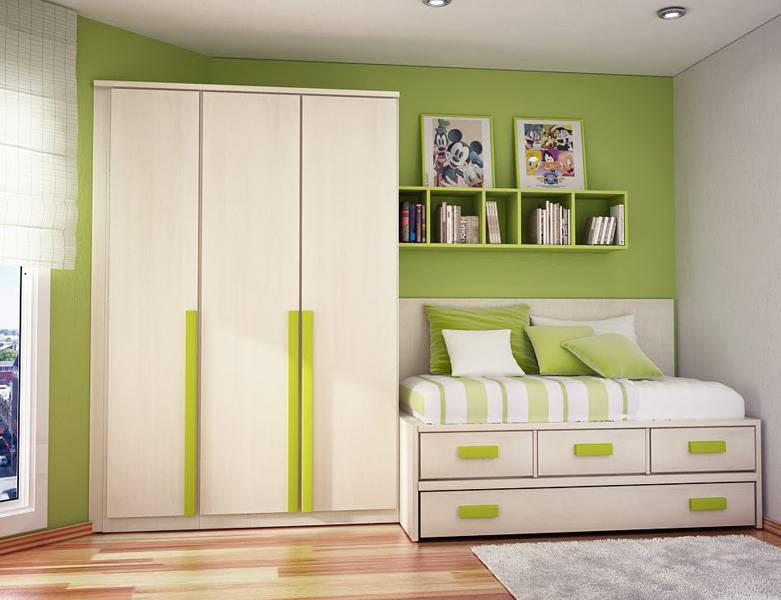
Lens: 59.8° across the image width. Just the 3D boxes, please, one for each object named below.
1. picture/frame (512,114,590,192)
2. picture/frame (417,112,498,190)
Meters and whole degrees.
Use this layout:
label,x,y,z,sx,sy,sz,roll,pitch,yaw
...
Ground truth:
label,x,y,z,sx,sy,sz,roll,pitch,yaw
picture/frame,1.089,-1.001,4.693,0.607,0.592,0.023,0,-5,-7
picture/frame,0.431,-0.996,4.609,0.587,0.612,0.025,1,-9,-10
